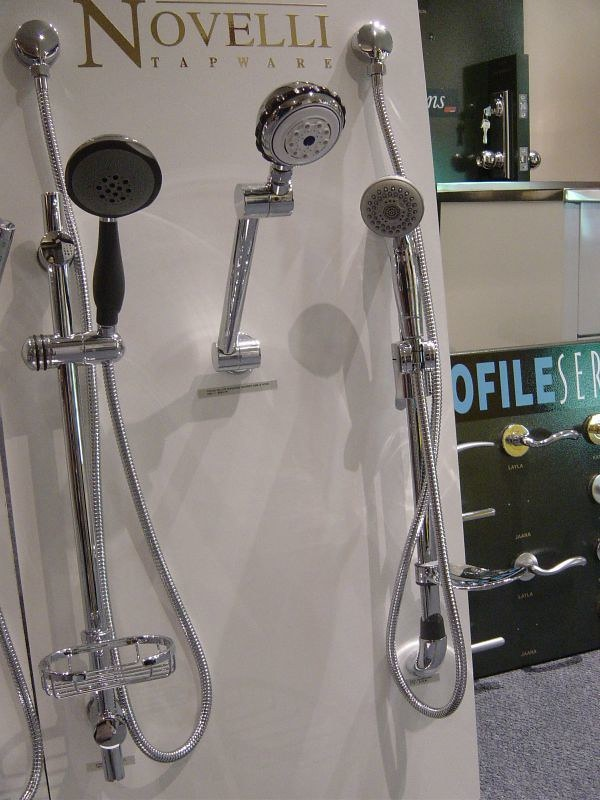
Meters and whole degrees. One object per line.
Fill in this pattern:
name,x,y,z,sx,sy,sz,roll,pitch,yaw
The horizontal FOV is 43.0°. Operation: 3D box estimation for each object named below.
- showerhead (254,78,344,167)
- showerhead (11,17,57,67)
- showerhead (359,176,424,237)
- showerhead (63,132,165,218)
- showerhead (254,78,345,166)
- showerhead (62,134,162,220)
showerhead,0.001,-0.209,0.583,0.064,0.042,0.072,-11,-31,-15
showerhead,-0.249,-0.331,0.718,0.043,0.046,0.027,-6,5,-21
showerhead,0.085,-0.189,0.763,0.058,0.055,0.069,-5,5,-10
showerhead,-0.134,-0.159,0.547,0.053,0.015,0.060,-13,-44,-9
showerhead,-0.001,-0.204,0.567,0.057,0.036,0.062,-13,-36,-17
showerhead,-0.134,-0.161,0.555,0.065,0.050,0.070,-4,5,4
